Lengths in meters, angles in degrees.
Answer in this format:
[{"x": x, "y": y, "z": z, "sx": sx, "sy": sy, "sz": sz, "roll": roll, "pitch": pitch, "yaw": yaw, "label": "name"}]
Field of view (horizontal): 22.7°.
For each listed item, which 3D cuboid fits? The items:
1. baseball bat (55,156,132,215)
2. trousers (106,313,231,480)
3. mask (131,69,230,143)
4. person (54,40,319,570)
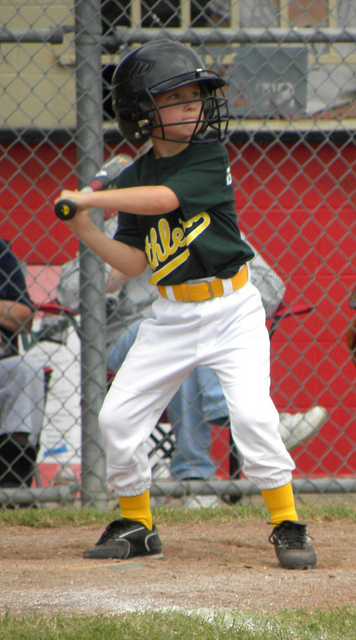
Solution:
[{"x": -0.253, "y": -0.433, "z": 2.883, "sx": 0.342, "sy": 0.087, "sz": 0.069, "roll": -31, "pitch": 33, "yaw": 35, "label": "baseball bat"}, {"x": 0.059, "y": 0.425, "z": 3.938, "sx": 0.711, "sy": 0.908, "sz": 0.232, "roll": -4, "pitch": 2, "yaw": 0, "label": "trousers"}, {"x": 0.064, "y": -0.625, "z": 2.643, "sx": 0.276, "sy": 0.206, "sz": 0.445, "roll": 6, "pitch": 12, "yaw": 35, "label": "mask"}, {"x": 0.052, "y": -0.028, "z": 2.600, "sx": 0.683, "sy": 1.567, "sz": 0.474, "roll": 0, "pitch": 11, "yaw": 7, "label": "person"}]
